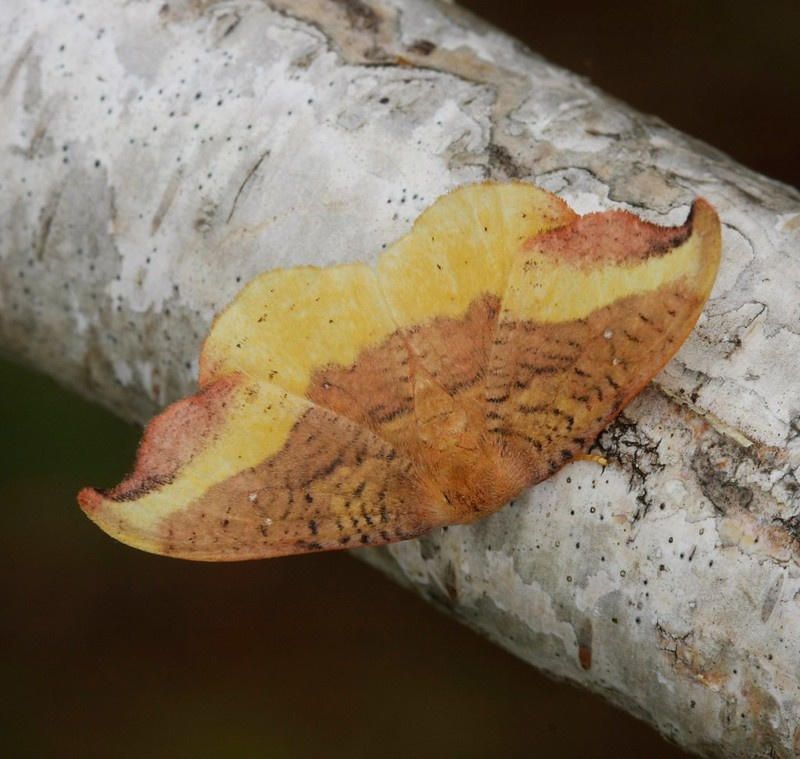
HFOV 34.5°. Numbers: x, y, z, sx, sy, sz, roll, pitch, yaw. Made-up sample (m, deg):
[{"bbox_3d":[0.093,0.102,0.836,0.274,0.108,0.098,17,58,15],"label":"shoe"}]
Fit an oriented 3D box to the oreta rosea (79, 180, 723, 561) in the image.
[{"bbox_3d":[-0.006,-0.013,1.142,0.591,0.218,0.240,-19,59,-11],"label":"oreta rosea"}]
